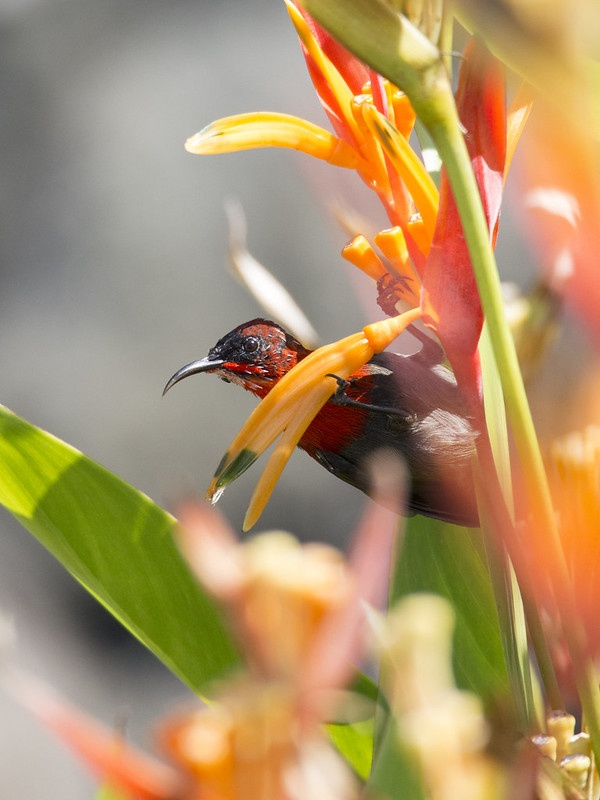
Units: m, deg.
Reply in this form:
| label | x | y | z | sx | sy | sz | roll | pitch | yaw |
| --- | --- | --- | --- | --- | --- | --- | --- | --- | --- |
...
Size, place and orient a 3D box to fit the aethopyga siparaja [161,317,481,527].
| label | x | y | z | sx | sy | sz | roll | pitch | yaw |
| --- | --- | --- | --- | --- | --- | --- | --- | --- | --- |
| aethopyga siparaja | 0.012 | -0.009 | 0.345 | 0.134 | 0.049 | 0.045 | -3 | 10 | -36 |
